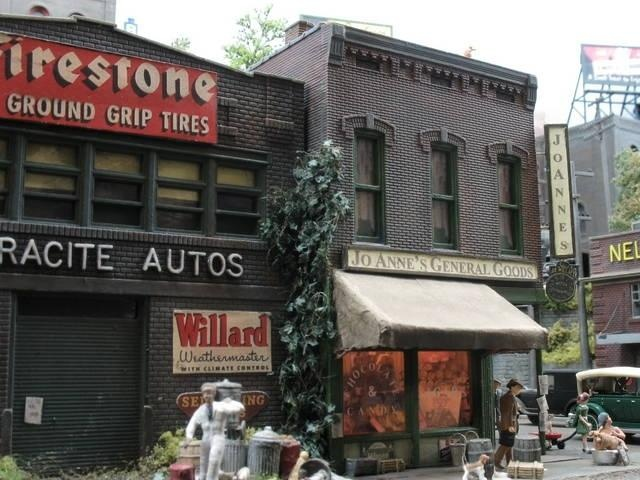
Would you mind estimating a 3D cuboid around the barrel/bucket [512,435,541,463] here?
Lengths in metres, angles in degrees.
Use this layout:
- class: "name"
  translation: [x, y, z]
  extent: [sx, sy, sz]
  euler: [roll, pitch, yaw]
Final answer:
- class: "barrel/bucket"
  translation: [4.880, 4.937, 22.364]
  extent: [0.560, 0.567, 0.581]
  euler: [0, -9, 0]

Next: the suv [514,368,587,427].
- class: "suv"
  translation: [7.858, 5.803, 35.140]
  extent: [3.295, 2.096, 1.976]
  euler: [-2, -8, 30]

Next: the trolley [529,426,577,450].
- class: "trolley"
  translation: [6.787, 5.754, 27.208]
  extent: [0.739, 0.661, 1.424]
  euler: [1, -4, -3]

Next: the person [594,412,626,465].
- class: "person"
  translation: [7.455, 5.184, 24.386]
  extent: [1.322, 0.934, 0.437]
  euler: [16, -21, -18]
